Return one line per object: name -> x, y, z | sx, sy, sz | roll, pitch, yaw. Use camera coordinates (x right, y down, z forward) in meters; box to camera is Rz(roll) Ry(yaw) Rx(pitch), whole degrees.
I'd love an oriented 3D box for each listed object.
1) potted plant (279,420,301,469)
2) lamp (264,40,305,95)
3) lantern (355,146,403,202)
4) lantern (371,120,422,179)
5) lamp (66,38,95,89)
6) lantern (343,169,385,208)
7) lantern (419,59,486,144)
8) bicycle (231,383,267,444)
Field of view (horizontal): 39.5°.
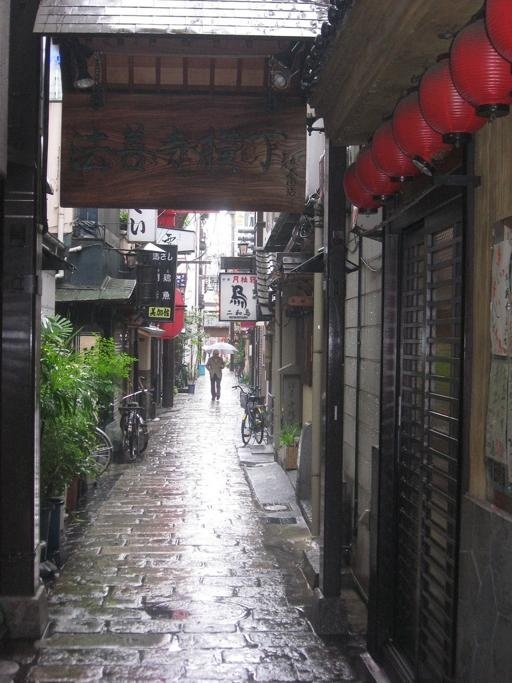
potted plant -> 0.584, 1.855, 12.895 | 0.464, 0.806, 0.739 | 0, -2, -4
lamp -> 0.238, -2.100, 5.424 | 0.408, 0.296, 0.261 | 1, -1, 28
lantern -> 0.739, -1.030, 4.361 | 0.249, 0.342, 0.264 | 0, 11, 13
lantern -> 0.725, -1.044, 3.867 | 0.227, 0.321, 0.253 | -5, 7, -14
lamp -> -1.346, -2.118, 5.464 | 0.208, 0.367, 0.162 | 1, 0, -9
lantern -> 0.744, -1.026, 4.948 | 0.237, 0.338, 0.266 | -2, 3, 4
lantern -> 0.758, -0.942, 2.936 | 0.264, 0.389, 0.296 | -1, 0, -5
bicycle -> -0.176, 1.843, 17.097 | 0.599, 1.007, 1.502 | -5, 15, 2
